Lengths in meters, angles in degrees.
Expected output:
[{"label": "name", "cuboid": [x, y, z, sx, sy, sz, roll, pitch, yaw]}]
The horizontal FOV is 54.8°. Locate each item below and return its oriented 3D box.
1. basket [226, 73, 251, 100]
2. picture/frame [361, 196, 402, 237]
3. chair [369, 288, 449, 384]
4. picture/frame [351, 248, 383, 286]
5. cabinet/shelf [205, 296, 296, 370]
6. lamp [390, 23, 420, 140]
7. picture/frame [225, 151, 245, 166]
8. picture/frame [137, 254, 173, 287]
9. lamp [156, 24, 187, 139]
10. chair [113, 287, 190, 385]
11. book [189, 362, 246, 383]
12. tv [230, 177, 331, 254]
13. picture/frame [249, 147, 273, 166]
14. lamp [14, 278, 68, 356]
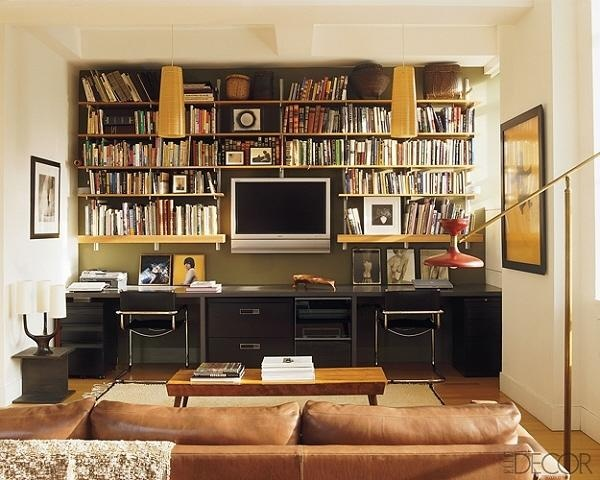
[{"label": "basket", "cuboid": [-0.628, -1.519, 5.766, 0.267, 0.179, 0.254, 0, 1, -17]}, {"label": "picture/frame", "cuboid": [0.840, -0.242, 5.913, 0.460, 0.430, 0.021, 0, -3, -2]}, {"label": "chair", "cuboid": [1.051, 0.881, 5.560, 0.899, 1.143, 0.848, 0, 0, 2]}, {"label": "picture/frame", "cuboid": [0.689, 0.286, 5.968, 0.414, 0.448, 0.050, 0, -5, 0]}, {"label": "cabinet/shelf", "cuboid": [-0.419, 0.786, 5.779, 1.170, 0.954, 0.610, 0, -3, 2]}, {"label": "lamp", "cuboid": [0.806, -1.072, 4.530, 0.195, 0.699, 0.193, -2, 0, 9]}, {"label": "picture/frame", "cuboid": [-0.658, -0.816, 5.834, 0.180, 0.134, 0.012, 0, -4, -2]}, {"label": "picture/frame", "cuboid": [-1.500, 0.318, 6.004, 0.360, 0.320, 0.033, 1, -6, -1]}, {"label": "lamp", "cuboid": [-1.000, -1.066, 4.463, 0.196, 0.774, 0.202, -2, 0, -14]}, {"label": "chair", "cuboid": [-1.392, 0.886, 5.609, 0.881, 1.123, 0.844, 0, -1, -2]}, {"label": "book", "cuboid": [-0.560, 0.912, 3.964, 0.243, 0.053, 0.215, 1, 2, -1]}, {"label": "tv", "cuboid": [-0.187, -0.255, 5.936, 0.853, 0.563, 0.035, 0, -1, 3]}, {"label": "picture/frame", "cuboid": [-0.400, -0.837, 5.841, 0.221, 0.162, 0.023, 0, -1, 0]}, {"label": "lamp", "cuboid": [-2.297, 0.659, 5.081, 0.399, 0.664, 0.492, -2, 0, -26]}]
